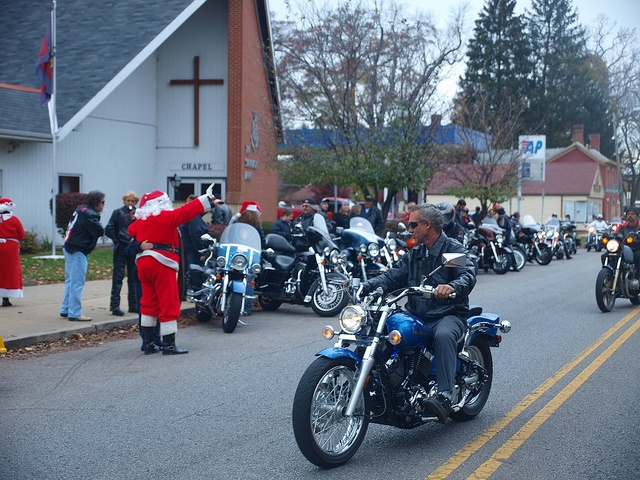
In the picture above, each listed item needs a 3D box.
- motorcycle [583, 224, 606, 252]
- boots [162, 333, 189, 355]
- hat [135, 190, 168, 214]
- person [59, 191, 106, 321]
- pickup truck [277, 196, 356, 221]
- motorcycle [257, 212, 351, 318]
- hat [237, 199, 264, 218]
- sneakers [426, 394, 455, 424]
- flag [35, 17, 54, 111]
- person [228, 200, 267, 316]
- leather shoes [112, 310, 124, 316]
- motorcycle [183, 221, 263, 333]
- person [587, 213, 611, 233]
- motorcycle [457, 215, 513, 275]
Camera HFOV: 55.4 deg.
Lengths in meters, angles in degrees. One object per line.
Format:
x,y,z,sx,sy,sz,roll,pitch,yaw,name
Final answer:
14.959,-0.091,33.290,1.481,2.012,2.800,1,0,25,motorcycle
-2.220,1.649,9.621,0.459,0.413,0.212,-2,4,-13,boots
-2.616,-0.592,9.510,0.394,0.225,0.308,-18,6,11,hat
-4.532,0.279,11.644,0.823,2.419,0.979,-2,4,-25,person
-0.745,-1.727,34.974,3.516,2.188,2.396,0,3,13,pickup truck
-0.462,0.704,13.082,2.586,1.991,1.135,-1,-13,41,motorcycle
-1.385,-0.670,12.273,0.402,0.421,0.336,-4,7,-3,hat
1.199,1.695,6.130,0.171,0.168,0.433,-29,-6,-1,sneakers
-8.975,-5.776,19.927,0.492,2.652,0.786,-2,4,-26,flag
-1.554,0.396,11.736,1.001,1.356,2.465,5,27,-9,person
-3.937,1.443,11.953,0.221,0.114,0.095,-5,7,34,leather shoes
-1.694,0.753,11.752,0.960,2.151,2.618,10,-7,-15,motorcycle
16.247,-0.906,35.533,0.820,0.917,1.421,-5,-9,22,person
5.531,0.037,21.562,1.462,1.969,3.110,-2,9,-29,motorcycle
